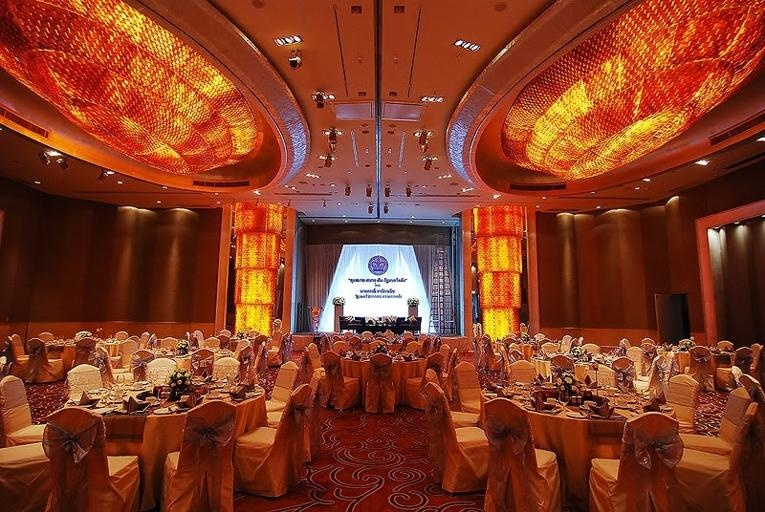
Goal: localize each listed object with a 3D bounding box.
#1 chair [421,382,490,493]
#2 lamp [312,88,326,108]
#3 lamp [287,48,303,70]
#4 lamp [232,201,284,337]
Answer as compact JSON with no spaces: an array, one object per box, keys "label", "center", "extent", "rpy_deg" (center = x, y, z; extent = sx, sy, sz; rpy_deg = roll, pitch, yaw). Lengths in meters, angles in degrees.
[{"label":"chair","center":[1.014,2.513,6.452],"extent":[0.831,1.399,0.595],"rpy_deg":[1,9,3]},{"label":"lamp","center":[-1.189,-3.008,8.798],"extent":[0.237,0.336,0.120],"rpy_deg":[-2,7,-6]},{"label":"lamp","center":[-1.450,-3.350,7.917],"extent":[0.200,0.347,0.352],"rpy_deg":[-2,3,1]},{"label":"lamp","center":[-4.058,0.358,15.196],"extent":[1.538,4.196,1.165],"rpy_deg":[-2,9,-15]}]
